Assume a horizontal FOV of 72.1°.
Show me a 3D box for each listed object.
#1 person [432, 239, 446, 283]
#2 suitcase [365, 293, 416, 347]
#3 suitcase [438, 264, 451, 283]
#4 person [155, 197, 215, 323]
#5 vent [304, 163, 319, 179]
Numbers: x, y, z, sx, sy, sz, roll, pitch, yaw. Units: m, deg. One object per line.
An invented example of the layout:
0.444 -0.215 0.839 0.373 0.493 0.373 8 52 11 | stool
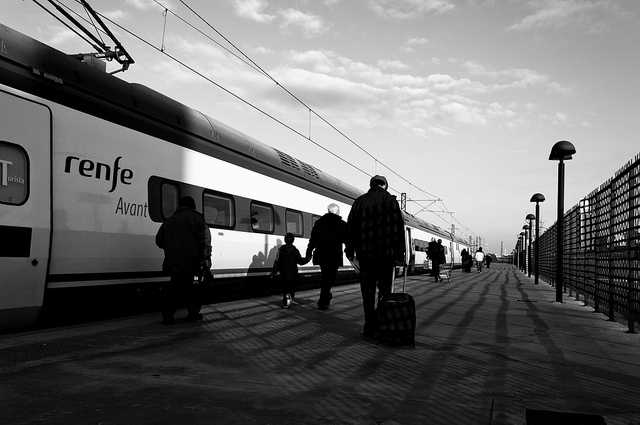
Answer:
5.641 2.262 20.929 0.520 1.893 1.044 1 -3 15 | person
1.155 1.562 6.820 0.832 0.691 1.151 0 5 14 | suitcase
6.274 3.043 22.199 0.793 1.141 0.910 -1 -15 16 | suitcase
-2.357 0.811 7.677 0.914 2.162 0.679 3 -3 -16 | person
-0.246 -1.450 15.827 0.209 0.372 0.961 1 -4 16 | vent
